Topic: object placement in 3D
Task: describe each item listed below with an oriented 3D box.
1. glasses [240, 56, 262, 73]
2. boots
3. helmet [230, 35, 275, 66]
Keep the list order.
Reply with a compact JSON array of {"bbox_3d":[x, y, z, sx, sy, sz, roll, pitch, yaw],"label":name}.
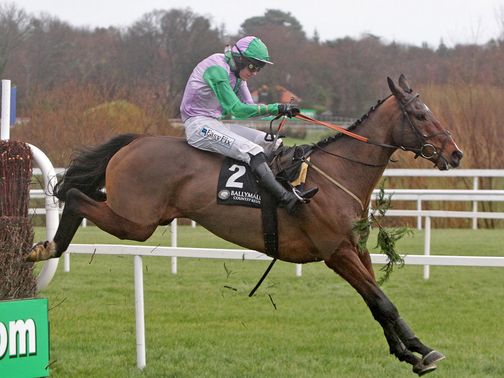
[{"bbox_3d":[0.000,-1.195,9.096,0.130,0.074,0.157,12,4,-36],"label":"glasses"},{"bbox_3d":[0.209,-0.053,8.891,0.749,0.230,0.345,36,46,16],"label":"boots"},{"bbox_3d":[-0.006,-1.345,9.113,0.351,0.172,0.250,10,14,6],"label":"helmet"}]
